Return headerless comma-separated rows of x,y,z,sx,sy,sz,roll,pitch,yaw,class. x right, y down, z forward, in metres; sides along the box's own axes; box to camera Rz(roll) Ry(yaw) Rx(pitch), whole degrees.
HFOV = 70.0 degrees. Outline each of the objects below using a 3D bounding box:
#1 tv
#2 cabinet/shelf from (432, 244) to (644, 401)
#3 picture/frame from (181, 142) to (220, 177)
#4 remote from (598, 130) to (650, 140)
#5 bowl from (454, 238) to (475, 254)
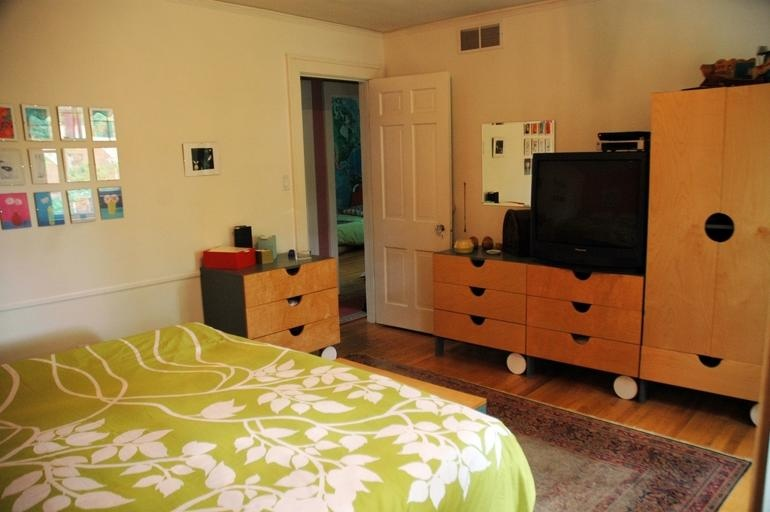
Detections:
1.616,-0.330,4.280,0.928,0.888,0.565,5,11,40,tv
1.303,0.556,4.516,1.207,0.603,0.355,6,9,40,cabinet/shelf
-1.582,-0.814,4.643,0.300,0.266,0.013,-12,15,-42,picture/frame
1.849,-0.924,4.253,0.213,0.046,0.208,-8,12,-38,remote
0.744,-0.091,5.121,0.168,0.096,0.163,-2,11,0,bowl
